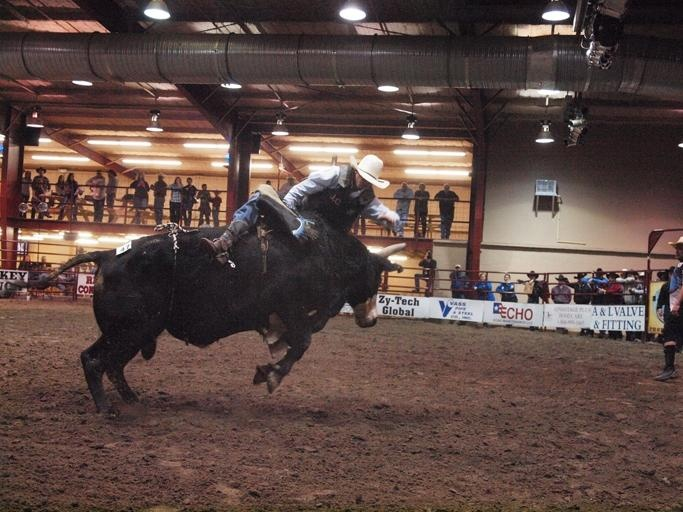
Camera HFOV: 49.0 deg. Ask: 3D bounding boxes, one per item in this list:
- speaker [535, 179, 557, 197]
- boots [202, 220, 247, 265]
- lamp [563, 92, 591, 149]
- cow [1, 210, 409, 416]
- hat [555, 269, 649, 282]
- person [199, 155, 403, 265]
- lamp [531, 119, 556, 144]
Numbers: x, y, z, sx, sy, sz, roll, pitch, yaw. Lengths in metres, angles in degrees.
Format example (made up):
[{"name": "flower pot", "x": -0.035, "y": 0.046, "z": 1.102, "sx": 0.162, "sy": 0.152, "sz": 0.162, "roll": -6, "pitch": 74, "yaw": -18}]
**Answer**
[{"name": "speaker", "x": 7.395, "y": -2.459, "z": 27.040, "sx": 0.747, "sy": 0.463, "sz": 0.691, "roll": 0, "pitch": 1, "yaw": 4}, {"name": "boots", "x": -1.557, "y": -0.184, "z": 9.903, "sx": 0.566, "sy": 0.539, "sz": 0.241, "roll": -6, "pitch": 14, "yaw": -41}, {"name": "lamp", "x": 6.837, "y": -3.981, "z": 21.837, "sx": 0.643, "sy": 1.544, "sz": 3.915, "roll": 6, "pitch": 10, "yaw": 16}, {"name": "cow", "x": -1.561, "y": 0.780, "z": 10.231, "sx": 3.729, "sy": 2.735, "sz": 0.883, "roll": 3, "pitch": 10, "yaw": 2}, {"name": "hat", "x": 8.059, "y": 0.631, "z": 22.639, "sx": 1.363, "sy": 0.292, "sz": 1.373, "roll": 0, "pitch": -1, "yaw": -4}, {"name": "person", "x": -0.384, "y": -0.716, "z": 9.984, "sx": 2.575, "sy": 0.904, "sz": 1.076, "roll": -7, "pitch": -6, "yaw": -12}, {"name": "lamp", "x": 6.460, "y": -3.916, "z": 23.626, "sx": 0.419, "sy": 0.684, "sz": 1.384, "roll": 6, "pitch": 10, "yaw": 15}]
